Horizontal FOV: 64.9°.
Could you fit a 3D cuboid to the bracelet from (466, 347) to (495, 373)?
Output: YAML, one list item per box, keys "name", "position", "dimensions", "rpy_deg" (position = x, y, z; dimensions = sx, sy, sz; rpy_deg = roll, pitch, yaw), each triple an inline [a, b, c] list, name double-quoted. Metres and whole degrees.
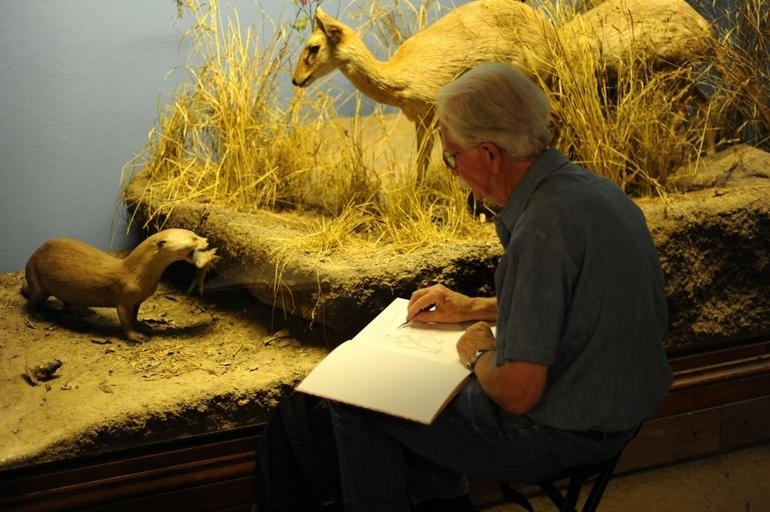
- name: "bracelet"
  position: [0.327, 0.356, 2.096]
  dimensions: [0.019, 0.077, 0.079]
  rpy_deg: [33, 65, -7]

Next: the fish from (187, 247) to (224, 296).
- name: "fish"
  position: [-0.769, 0.066, 2.593]
  dimensions: [0.084, 0.184, 0.111]
  rpy_deg: [-2, 29, -47]
